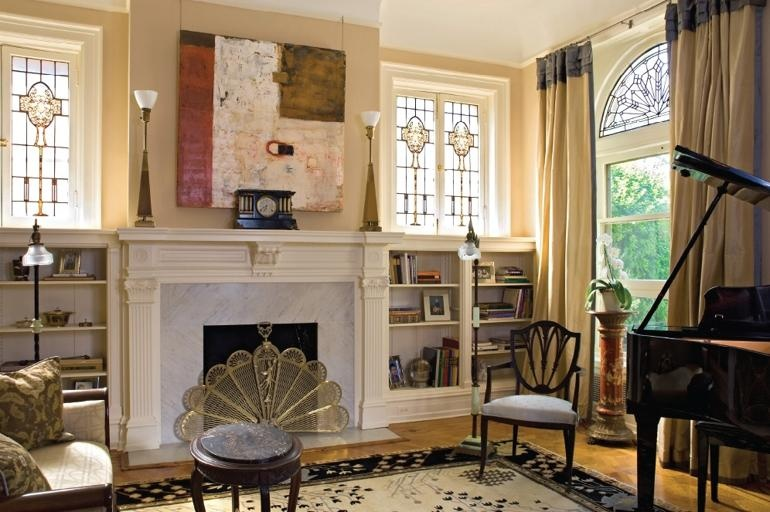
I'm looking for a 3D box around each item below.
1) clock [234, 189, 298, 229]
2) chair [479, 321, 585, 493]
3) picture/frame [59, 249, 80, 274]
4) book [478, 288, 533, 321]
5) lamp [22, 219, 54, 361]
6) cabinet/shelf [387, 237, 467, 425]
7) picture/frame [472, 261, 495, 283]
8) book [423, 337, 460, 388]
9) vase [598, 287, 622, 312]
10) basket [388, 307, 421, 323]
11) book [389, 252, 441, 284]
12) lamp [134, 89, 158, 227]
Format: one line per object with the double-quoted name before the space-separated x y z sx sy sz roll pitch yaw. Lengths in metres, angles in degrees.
"clock" -1.198 -0.480 6.475 0.585 0.400 0.147 -1 10 -10
"chair" 1.455 1.307 6.038 0.905 1.280 0.891 0 0 32
"picture/frame" -3.122 0.052 6.311 0.261 0.325 0.036 2 -7 -23
"book" 1.437 0.567 7.702 0.543 0.334 0.388 1 -1 -13
"lamp" -3.160 0.400 5.794 0.325 1.423 0.311 -1 -3 -32
"cabinet/shelf" 0.481 0.832 7.313 1.202 1.989 0.560 3 -6 5
"picture/frame" 1.115 0.186 7.370 0.268 0.247 0.020 6 -15 -32
"book" 0.652 1.236 7.405 0.168 0.511 0.399 -1 1 -18
"vase" 2.264 0.444 6.526 0.238 0.162 0.230 0 -3 10
"basket" 0.229 0.661 7.223 0.417 0.148 0.206 -2 10 -19
"book" 0.323 0.251 7.401 0.629 0.541 0.344 1 -4 -17
"lamp" -2.313 -0.956 6.196 0.256 1.297 0.419 -3 11 -19
